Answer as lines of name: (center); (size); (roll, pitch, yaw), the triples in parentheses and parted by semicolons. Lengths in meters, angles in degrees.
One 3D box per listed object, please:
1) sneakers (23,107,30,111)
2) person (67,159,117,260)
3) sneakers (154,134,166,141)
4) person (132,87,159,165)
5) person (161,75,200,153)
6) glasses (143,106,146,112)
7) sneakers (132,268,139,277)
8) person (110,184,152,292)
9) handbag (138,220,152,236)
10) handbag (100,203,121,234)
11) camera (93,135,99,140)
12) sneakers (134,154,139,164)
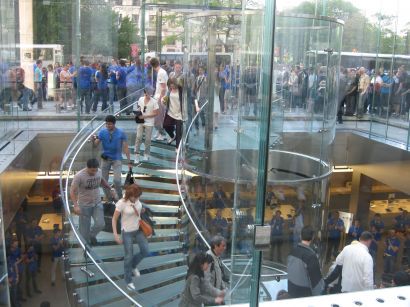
sneakers: (-4.044, -1.013, 9.181); (0.041, 0.078, 0.215); (4, 13, 16)
person: (-1.741, 0.719, 6.006); (0.464, 1.284, 0.305); (-8, 14, -34)
sneakers: (-0.973, -0.364, 8.768); (0.204, 0.089, 0.116); (-1, 8, -44)
person: (-1.177, -0.574, 8.020); (0.492, 1.488, 0.428); (-2, 12, -11)
person: (-0.661, -0.777, 8.027); (0.384, 1.519, 0.899); (-1, 12, -7)
glasses: (-1.166, -0.871, 7.850); (0.052, 0.107, 0.032); (1, 12, 4)
sneakers: (-1.004, 1.734, 5.903); (0.058, 0.158, 0.055); (-19, -2, 39)
person: (-1.021, 1.146, 5.704); (0.531, 1.525, 0.324); (-3, 12, -14)
handbag: (-0.842, 1.032, 5.623); (0.084, 0.206, 0.157); (-32, -11, -8)
handbag: (-1.407, 0.974, 6.000); (0.178, 0.459, 0.442); (-7, 13, -39)
camera: (-1.933, -0.312, 7.210); (0.074, 0.077, 0.074); (-11, 52, 4)
sneakers: (-1.352, 0.100, 8.013); (0.062, 0.098, 0.218); (-1, 52, 0)
